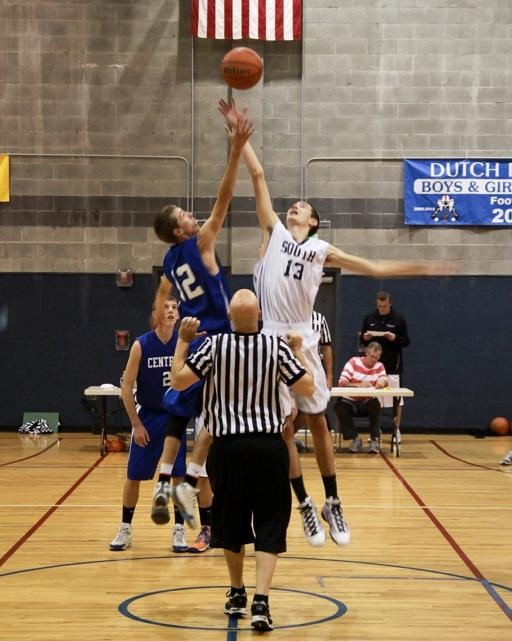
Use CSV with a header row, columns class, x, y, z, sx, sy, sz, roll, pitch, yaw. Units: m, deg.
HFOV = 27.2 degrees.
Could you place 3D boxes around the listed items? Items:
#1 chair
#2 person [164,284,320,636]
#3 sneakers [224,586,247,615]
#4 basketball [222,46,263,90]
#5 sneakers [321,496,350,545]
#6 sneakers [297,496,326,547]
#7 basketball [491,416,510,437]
class,x,y,z,sx,sy,sz,roll,pitch,yaw
chair,1.167,0.901,11.994,0.466,1.243,0.705,-7,-12,8
person,-0.065,0.812,6.100,0.793,1.985,0.297,0,3,2
sneakers,-0.110,1.675,6.328,0.080,0.108,0.223,1,-6,-1
basketball,-0.088,-1.705,7.120,0.274,0.291,0.184,-1,3,-22
sneakers,0.526,1.259,6.920,0.124,0.370,0.213,-13,-35,-8
sneakers,0.329,1.298,6.727,0.115,0.153,0.366,-26,38,11
basketball,3.047,1.320,13.181,0.277,0.223,0.240,0,3,-3
